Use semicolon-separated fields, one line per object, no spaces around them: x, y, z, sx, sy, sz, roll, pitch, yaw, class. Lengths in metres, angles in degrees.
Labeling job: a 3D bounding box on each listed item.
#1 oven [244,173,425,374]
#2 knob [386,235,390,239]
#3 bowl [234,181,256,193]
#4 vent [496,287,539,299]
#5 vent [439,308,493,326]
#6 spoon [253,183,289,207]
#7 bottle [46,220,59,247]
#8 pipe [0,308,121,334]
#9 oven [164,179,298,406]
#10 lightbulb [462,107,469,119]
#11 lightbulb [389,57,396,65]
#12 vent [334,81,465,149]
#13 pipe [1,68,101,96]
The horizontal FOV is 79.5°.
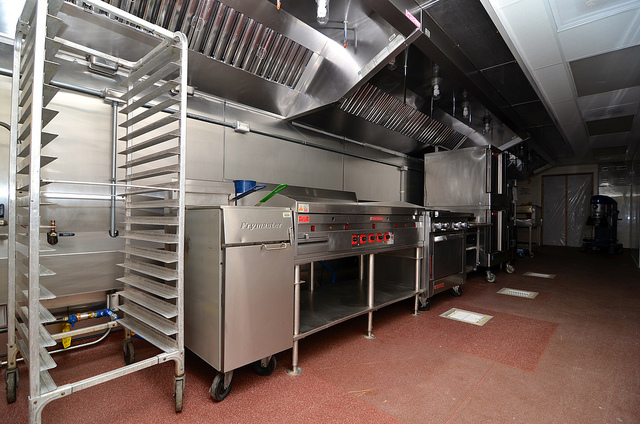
0.155;0.463;4.219;2.044;1.540;1.201;0;3;-41;oven
0.705;0.249;3.959;0.026;0.040;0.048;7;9;44;knob
-0.787;-0.262;3.987;0.163;0.096;0.161;0;-2;0;bowl
2.617;1.056;5.081;0.439;0.065;0.341;11;16;39;vent
1.610;1.138;4.233;0.459;0.040;0.365;10;16;36;vent
-0.463;-0.156;3.601;0.066;0.442;0.035;38;30;-27;spoon
-2.282;0.184;3.282;0.093;0.220;0.092;0;13;0;bottle
-2.155;0.929;3.352;0.952;0.189;0.313;-1;13;-6;pipe
-0.626;0.655;3.101;0.954;1.453;0.676;-3;14;-13;oven
2.099;-1.452;5.550;0.106;0.098;0.182;-3;-2;10;lightbulb
0.766;-1.595;4.063;0.051;0.054;0.050;-4;8;-19;lightbulb
0.966;-1.362;5.234;2.060;0.340;0.078;9;22;-44;vent
-2.301;-1.128;3.328;0.704;0.186;0.073;-4;14;-18;pipe
